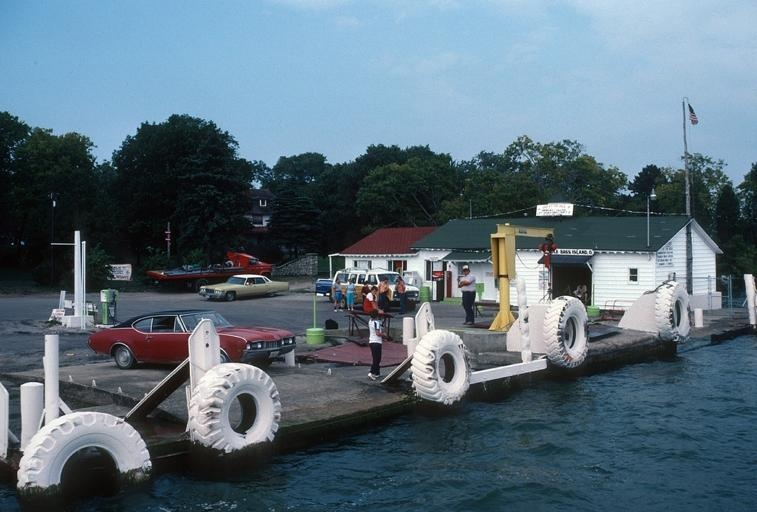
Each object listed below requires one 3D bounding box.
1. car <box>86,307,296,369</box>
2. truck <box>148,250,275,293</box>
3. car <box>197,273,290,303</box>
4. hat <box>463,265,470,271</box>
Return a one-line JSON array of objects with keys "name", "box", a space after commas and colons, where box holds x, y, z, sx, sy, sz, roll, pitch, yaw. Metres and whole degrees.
[{"name": "car", "box": [-5.780, 2.617, 23.212, 5.946, 1.775, 2.285, 0, -1, 8]}, {"name": "truck", "box": [-10.542, 1.232, 53.616, 9.003, 2.728, 2.878, -5, 8, -39]}, {"name": "car", "box": [-8.030, 2.280, 47.853, 2.713, 2.074, 5.352, -1, 0, 33]}, {"name": "hat", "box": [3.945, 0.569, 36.222, 0.247, 0.240, 0.438, -4, 0, 10]}]
